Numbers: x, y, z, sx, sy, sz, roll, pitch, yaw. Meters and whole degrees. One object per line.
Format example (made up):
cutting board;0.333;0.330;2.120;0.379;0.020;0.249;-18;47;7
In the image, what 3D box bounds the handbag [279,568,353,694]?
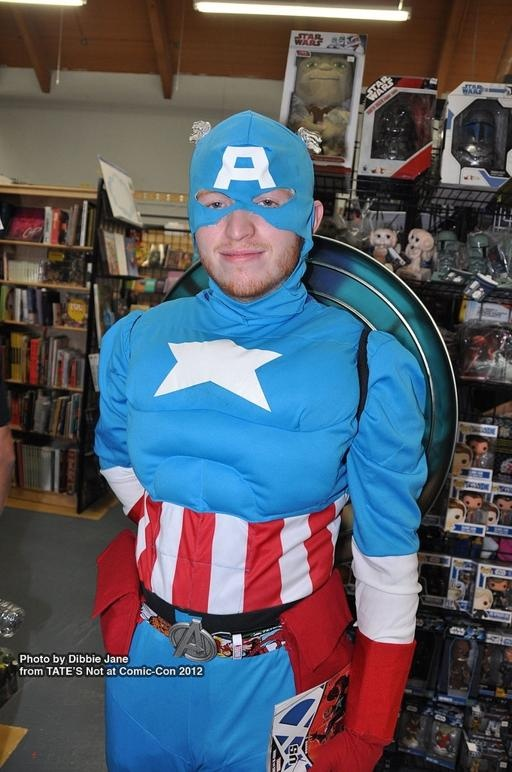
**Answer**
handbag;0.089;0.394;0.936;0.050;0.150;0.170;-10;14;42
